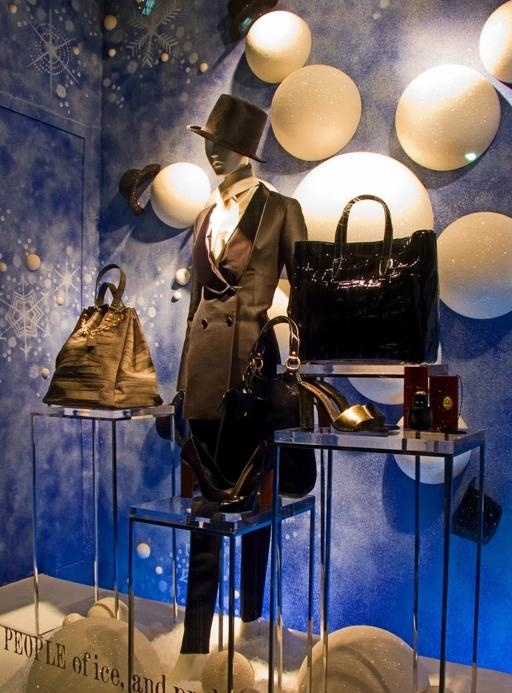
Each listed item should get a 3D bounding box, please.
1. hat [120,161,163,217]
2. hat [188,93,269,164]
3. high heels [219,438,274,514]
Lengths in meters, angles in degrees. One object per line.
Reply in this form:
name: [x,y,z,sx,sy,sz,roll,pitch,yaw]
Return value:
hat: [-0.471,-0.614,2.543,0.099,0.185,0.254,11,-15,-43]
hat: [-0.077,-0.605,1.842,0.191,0.117,0.183,23,16,-14]
high heels: [-0.019,0.295,1.481,0.124,0.160,0.095,3,-10,-10]
